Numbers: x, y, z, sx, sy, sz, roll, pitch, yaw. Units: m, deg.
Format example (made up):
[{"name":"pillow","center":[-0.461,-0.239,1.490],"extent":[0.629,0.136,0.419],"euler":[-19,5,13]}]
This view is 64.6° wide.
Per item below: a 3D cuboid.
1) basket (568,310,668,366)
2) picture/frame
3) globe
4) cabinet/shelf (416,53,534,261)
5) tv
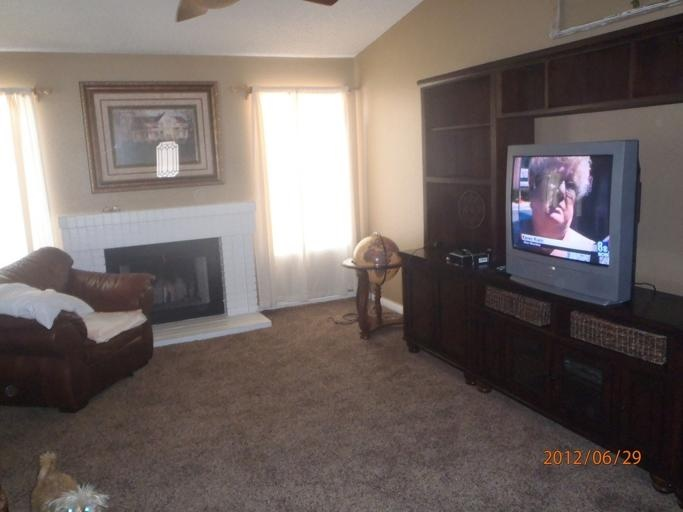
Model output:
[{"name":"basket","center":[1.665,0.497,3.349],"extent":[0.050,0.185,0.538],"euler":[-27,27,-33]},{"name":"picture/frame","center":[-2.099,-1.296,5.814],"extent":[1.152,1.059,0.097],"euler":[-5,13,-17]},{"name":"globe","center":[0.366,0.267,5.538],"extent":[0.671,0.999,0.645],"euler":[-8,11,-17]},{"name":"cabinet/shelf","center":[1.019,-0.622,4.567],"extent":[0.655,1.440,0.334],"euler":[3,6,32]},{"name":"tv","center":[1.562,-0.210,3.577],"extent":[0.554,1.074,0.906],"euler":[-9,14,-31]}]
